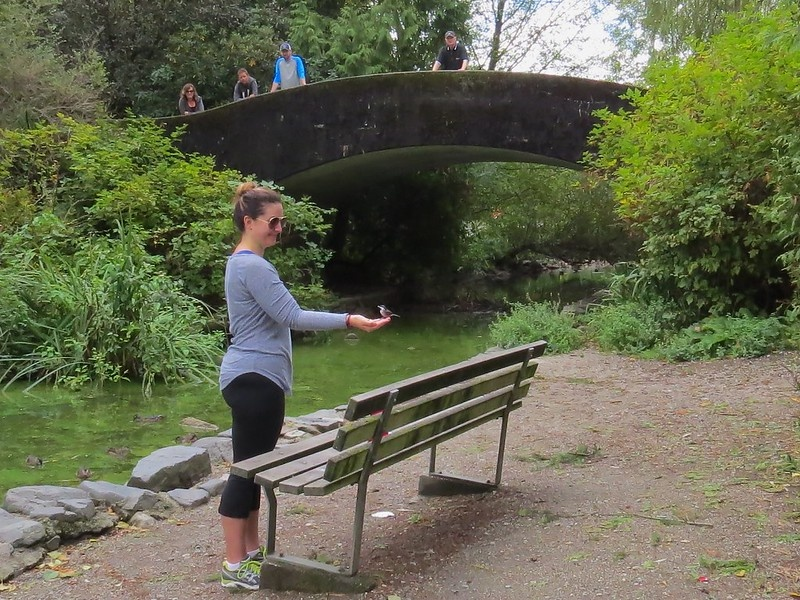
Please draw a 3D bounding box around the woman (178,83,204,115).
[{"bbox_3d":[-3.951,-3.824,13.828,0.391,0.699,1.326,-9,9,-13],"label":"woman"}]

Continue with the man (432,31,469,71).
[{"bbox_3d":[0.989,-4.565,13.710,0.688,0.883,0.537,-4,27,14],"label":"man"}]

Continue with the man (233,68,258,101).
[{"bbox_3d":[-2.890,-4.078,13.727,0.374,0.482,0.627,-9,10,-18],"label":"man"}]

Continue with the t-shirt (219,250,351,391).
[{"bbox_3d":[-0.555,0.147,4.464,0.966,0.904,0.749,2,-2,-21],"label":"t-shirt"}]

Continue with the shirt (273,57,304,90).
[{"bbox_3d":[-2.032,-4.244,13.491,0.562,0.714,0.953,-7,9,-7],"label":"shirt"}]

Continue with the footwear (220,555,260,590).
[{"bbox_3d":[-0.909,1.617,4.262,0.300,0.113,0.121,0,2,0],"label":"footwear"}]

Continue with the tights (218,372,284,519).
[{"bbox_3d":[-0.856,0.853,4.232,0.464,0.878,0.190,-8,11,-9],"label":"tights"}]
